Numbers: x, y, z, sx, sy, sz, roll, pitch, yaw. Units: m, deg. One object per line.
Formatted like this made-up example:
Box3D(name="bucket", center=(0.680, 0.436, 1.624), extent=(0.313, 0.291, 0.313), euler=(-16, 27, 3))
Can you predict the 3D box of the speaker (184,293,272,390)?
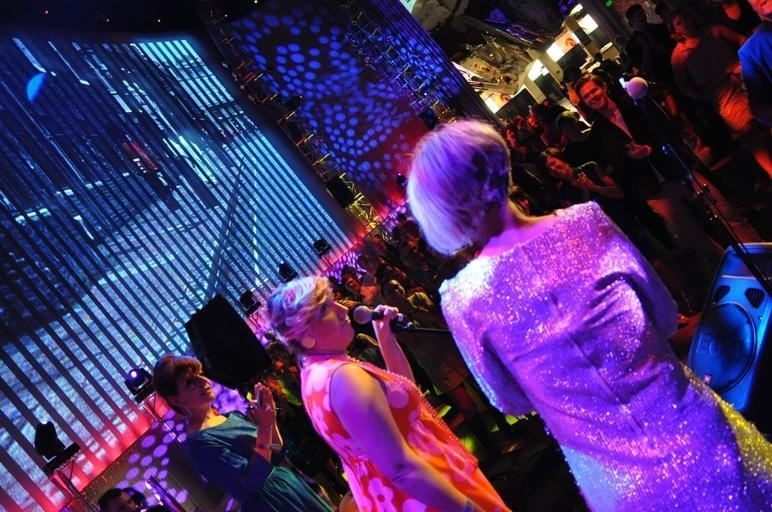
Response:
Box3D(name="speaker", center=(-1.587, 0.865, 6.301), extent=(0.575, 1.009, 0.544), euler=(-35, -5, -19))
